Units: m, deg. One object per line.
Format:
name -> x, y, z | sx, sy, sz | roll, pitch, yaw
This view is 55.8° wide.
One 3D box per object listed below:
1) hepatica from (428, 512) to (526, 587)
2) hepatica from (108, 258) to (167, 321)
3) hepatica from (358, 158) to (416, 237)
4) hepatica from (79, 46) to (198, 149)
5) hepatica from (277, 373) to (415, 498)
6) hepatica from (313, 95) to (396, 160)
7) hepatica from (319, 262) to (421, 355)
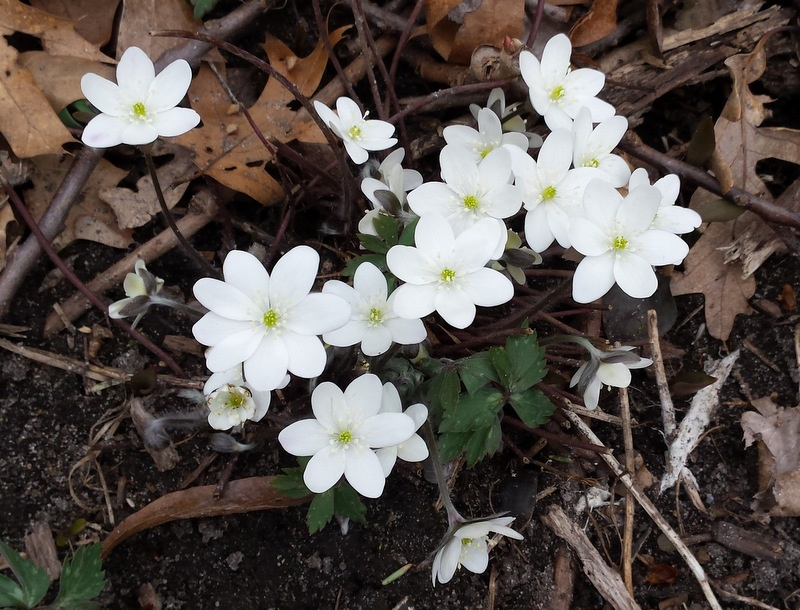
hepatica -> 0.307, 1.006, 3.241 | 0.373, 0.400, 0.187 | 5, 33, -41
hepatica -> -1.178, -0.050, 3.345 | 0.103, 0.219, 0.275 | 11, 66, -33
hepatica -> -0.081, -0.450, 3.464 | 0.108, 0.375, 0.317 | 44, 68, 4
hepatica -> -1.095, -0.873, 3.111 | 0.456, 0.185, 0.455 | -9, 59, -13
hepatica -> -0.210, 0.535, 3.081 | 0.449, 0.308, 0.465 | 39, 61, 17
hepatica -> -0.179, -0.778, 3.375 | 0.374, 0.111, 0.335 | 3, 34, -45
hepatica -> -0.121, 0.016, 3.138 | 0.345, 0.111, 0.390 | -8, 35, -12
